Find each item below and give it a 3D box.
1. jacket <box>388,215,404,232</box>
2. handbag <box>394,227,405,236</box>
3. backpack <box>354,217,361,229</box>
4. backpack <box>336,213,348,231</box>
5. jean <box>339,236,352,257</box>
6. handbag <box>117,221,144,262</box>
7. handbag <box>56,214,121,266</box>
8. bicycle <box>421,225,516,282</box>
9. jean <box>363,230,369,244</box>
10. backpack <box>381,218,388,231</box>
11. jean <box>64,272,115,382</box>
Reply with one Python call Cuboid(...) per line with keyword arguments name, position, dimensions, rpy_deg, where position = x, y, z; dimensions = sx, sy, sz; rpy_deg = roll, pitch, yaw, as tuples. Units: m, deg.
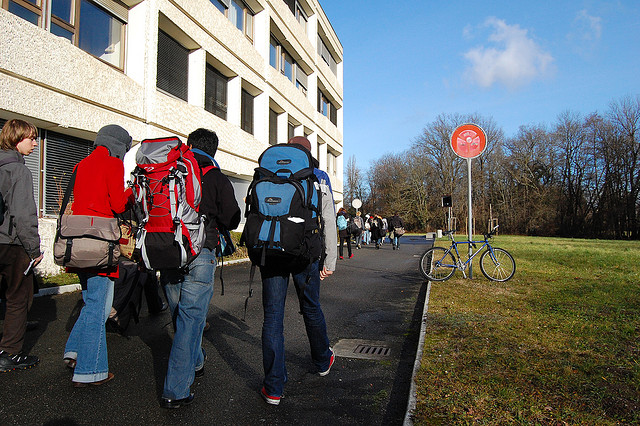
Cuboid(name="jacket", position=(4.879, 0.657, 27.056), dimensions=(1.192, 1.218, 0.691), rpy_deg=(-2, -13, 13))
Cuboid(name="handbag", position=(4.331, 0.983, 23.239), dimensions=(0.487, 0.550, 0.381), rpy_deg=(-1, 8, -1))
Cuboid(name="backpack", position=(1.861, 0.455, 20.775), dimensions=(0.097, 0.418, 0.433), rpy_deg=(-10, 4, 33))
Cuboid(name="backpack", position=(0.907, 0.376, 17.781), dimensions=(0.392, 0.600, 0.565), rpy_deg=(-2, -19, 1))
Cuboid(name="jean", position=(1.088, 1.452, 18.375), dimensions=(0.479, 1.015, 1.101), rpy_deg=(0, 8, 5))
Cuboid(name="handbag", position=(-2.574, 0.344, 5.829), dimensions=(0.294, 0.415, 0.405), rpy_deg=(-6, 3, -41))
Cuboid(name="handbag", position=(-2.984, 0.388, 5.452), dimensions=(0.761, 0.696, 0.374), rpy_deg=(3, -14, -33))
Cuboid(name="bicycle", position=(3.852, 1.089, 11.046), dimensions=(2.379, 1.528, 0.973), rpy_deg=(-1, 7, 15))
Cuboid(name="jean", position=(3.432, 1.710, 31.573), dimensions=(0.428, 1.051, 1.473), rpy_deg=(0, 8, 6))
Cuboid(name="backpack", position=(4.062, 0.668, 26.577), dimensions=(0.355, 1.009, 0.305), rpy_deg=(2, -10, -22))
Cuboid(name="jean", position=(-3.046, 1.440, 5.493), dimensions=(0.662, 1.407, 0.446), rpy_deg=(1, 8, 9))
